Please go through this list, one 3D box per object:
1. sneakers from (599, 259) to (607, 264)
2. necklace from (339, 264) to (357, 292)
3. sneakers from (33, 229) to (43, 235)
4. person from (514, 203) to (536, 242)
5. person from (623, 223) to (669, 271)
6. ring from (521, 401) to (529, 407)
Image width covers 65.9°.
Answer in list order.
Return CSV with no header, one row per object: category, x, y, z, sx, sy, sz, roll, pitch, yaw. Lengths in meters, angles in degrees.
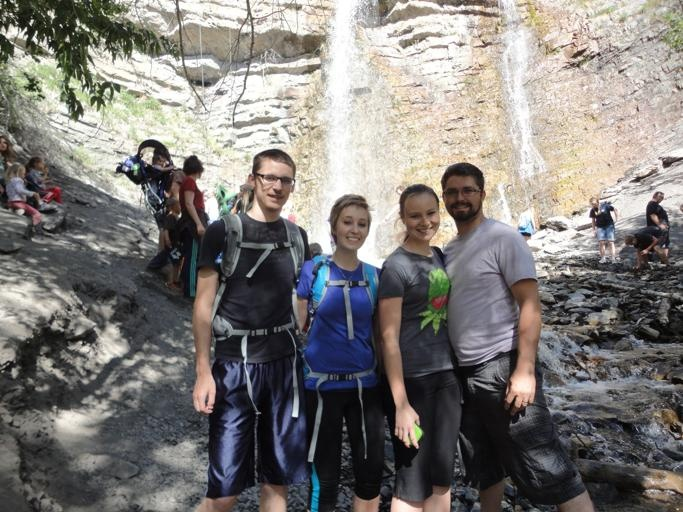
sneakers,7.831,0.167,15.776,0.114,0.197,0.094,-1,6,-37
necklace,0.052,0.216,4.874,0.235,0.355,0.038,2,-21,-5
sneakers,-4.760,-0.386,8.283,0.108,0.135,0.191,2,-7,-14
person,6.731,-1.103,19.228,0.547,1.368,0.439,5,23,28
person,8.234,-0.206,14.061,0.816,1.160,1.023,-3,-7,29
ring,1.602,1.299,4.602,0.044,0.023,0.061,-2,7,4
